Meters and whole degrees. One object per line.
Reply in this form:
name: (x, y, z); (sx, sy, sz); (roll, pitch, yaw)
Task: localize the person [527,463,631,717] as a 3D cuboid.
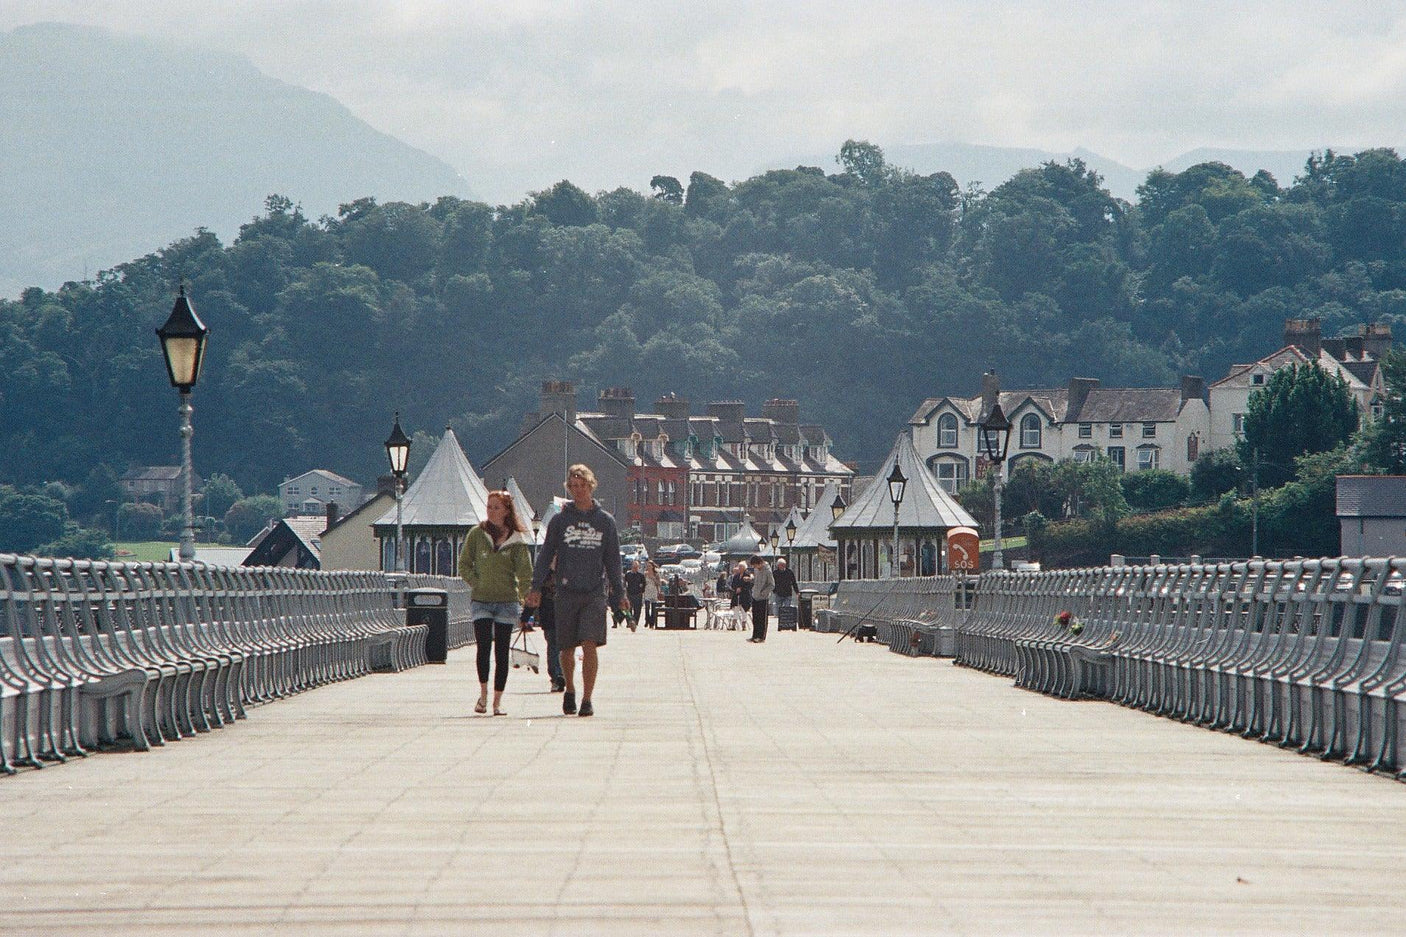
person: (-1.395, 1.300, 29.598); (0.938, 2.709, 1.531); (1, -2, -3)

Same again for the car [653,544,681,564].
car: (-2.077, 4.482, 146.570); (2.010, 1.251, 2.590); (0, -3, 6)

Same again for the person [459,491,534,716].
person: (-2.348, 1.459, 30.716); (0.805, 2.445, 1.144); (1, -2, -3)

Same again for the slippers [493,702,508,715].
slippers: (-2.271, 2.629, 30.312); (0.134, 0.116, 0.129); (5, -9, -26)

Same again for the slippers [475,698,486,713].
slippers: (-2.484, 2.596, 30.375); (0.157, 0.112, 0.443); (1, 5, -4)

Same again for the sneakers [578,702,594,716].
sneakers: (-1.312, 2.603, 30.048); (0.139, 0.140, 0.348); (0, -5, -2)
